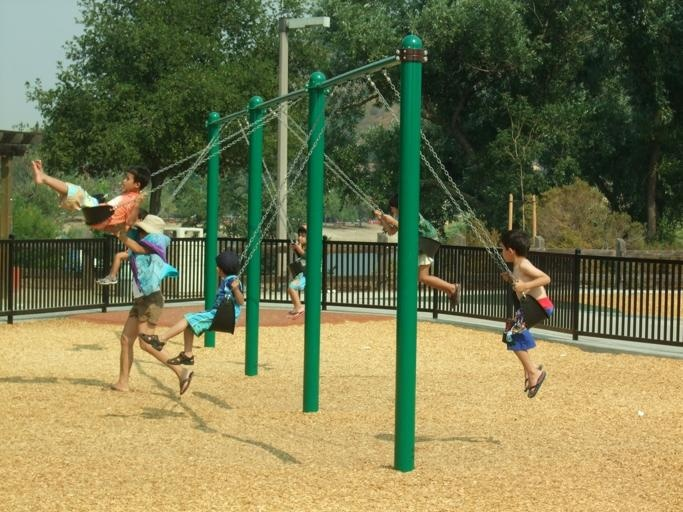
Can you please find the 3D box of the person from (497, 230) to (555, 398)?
[{"bbox_3d":[3.259,0.882,20.403,0.827,2.985,0.957,6,6,13],"label":"person"}]

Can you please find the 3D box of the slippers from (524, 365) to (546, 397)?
[{"bbox_3d":[3.378,2.274,20.152,0.199,0.694,0.381,11,25,-9],"label":"slippers"}]

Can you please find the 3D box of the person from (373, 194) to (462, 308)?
[{"bbox_3d":[1.418,-0.155,22.403,1.519,2.185,0.793,2,-21,-16],"label":"person"}]

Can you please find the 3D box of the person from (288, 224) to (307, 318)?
[{"bbox_3d":[-0.986,0.365,25.963,0.554,2.419,0.513,3,7,-12],"label":"person"}]

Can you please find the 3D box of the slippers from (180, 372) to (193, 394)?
[{"bbox_3d":[-2.769,2.225,20.575,0.190,0.492,0.172,13,2,-17],"label":"slippers"}]

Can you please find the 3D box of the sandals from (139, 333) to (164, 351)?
[{"bbox_3d":[-3.372,1.502,20.676,0.517,0.193,0.217,32,-53,-26],"label":"sandals"}]

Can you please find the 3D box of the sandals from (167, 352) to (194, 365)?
[{"bbox_3d":[-2.858,1.815,20.568,0.399,0.217,0.208,2,-2,1],"label":"sandals"}]
